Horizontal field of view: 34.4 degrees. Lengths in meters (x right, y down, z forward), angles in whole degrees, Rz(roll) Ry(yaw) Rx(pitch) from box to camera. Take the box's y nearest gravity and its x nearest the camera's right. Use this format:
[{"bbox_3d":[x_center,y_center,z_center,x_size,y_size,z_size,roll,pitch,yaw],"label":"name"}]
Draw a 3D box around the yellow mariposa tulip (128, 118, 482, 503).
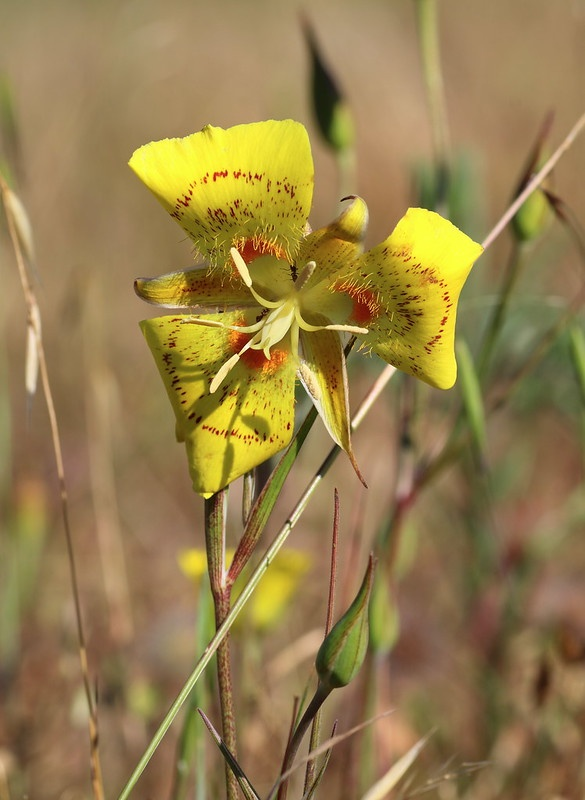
[{"bbox_3d":[0.025,-0.058,1.054,0.409,0.135,0.385,-22,84,10],"label":"yellow mariposa tulip"}]
